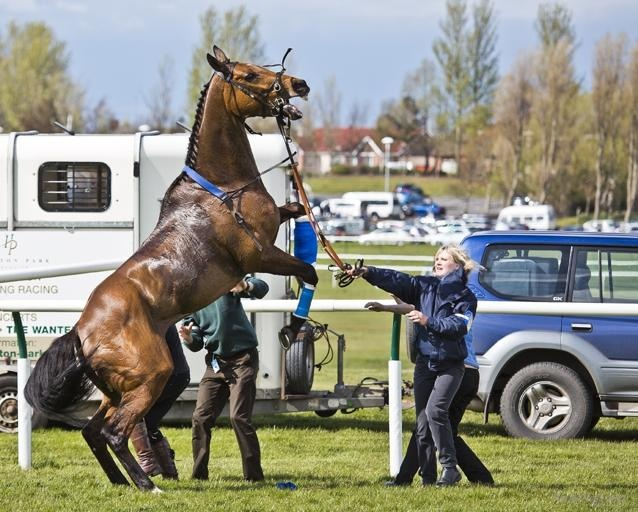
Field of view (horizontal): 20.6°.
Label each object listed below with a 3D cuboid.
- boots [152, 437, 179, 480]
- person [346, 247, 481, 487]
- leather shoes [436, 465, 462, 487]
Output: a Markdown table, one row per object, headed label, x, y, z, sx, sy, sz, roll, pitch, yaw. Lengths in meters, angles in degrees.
| label | x | y | z | sx | sy | sz | roll | pitch | yaw |
| --- | --- | --- | --- | --- | --- | --- | --- | --- | --- |
| boots | -1.433 | 1.865 | 16.018 | 0.109 | 0.324 | 0.226 | -18 | -21 | -26 |
| person | 0.943 | 0.961 | 15.425 | 0.885 | 2.100 | 0.563 | -1 | 1 | 4 |
| leather shoes | 1.131 | 1.933 | 15.375 | 0.101 | 0.153 | 0.310 | -4 | 4 | 38 |
